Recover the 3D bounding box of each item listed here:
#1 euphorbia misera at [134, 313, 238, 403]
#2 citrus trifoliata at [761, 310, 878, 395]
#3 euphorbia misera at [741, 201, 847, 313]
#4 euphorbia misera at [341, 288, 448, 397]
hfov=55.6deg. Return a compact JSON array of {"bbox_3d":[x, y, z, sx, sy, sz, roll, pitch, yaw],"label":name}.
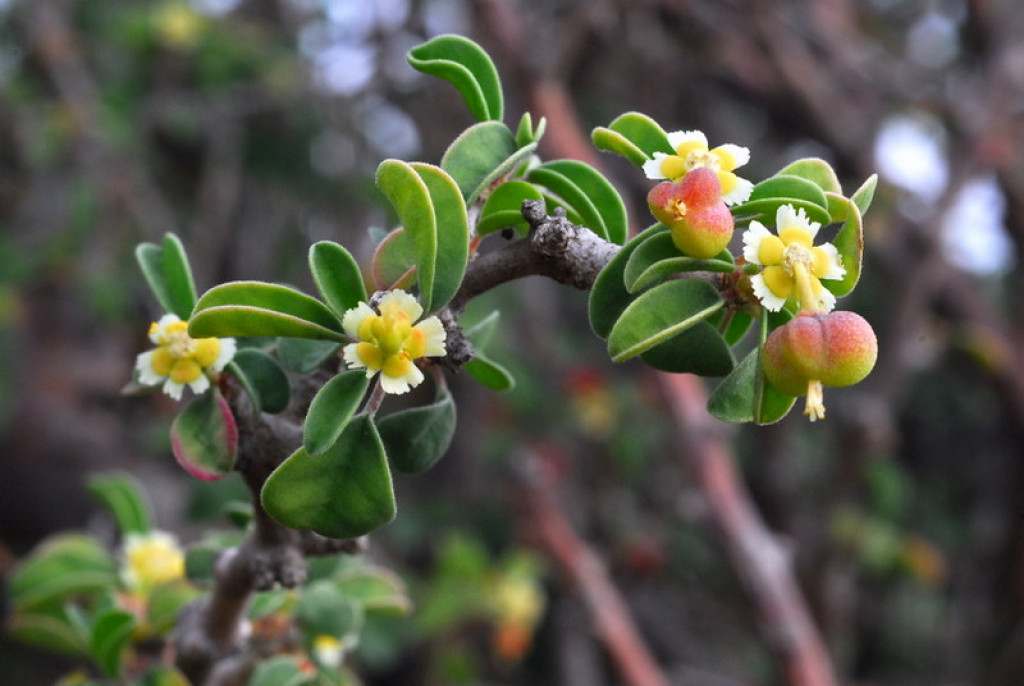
[{"bbox_3d":[-0.630,0.046,1.888,0.157,0.173,0.066,28,-2,2],"label":"euphorbia misera"},{"bbox_3d":[0.557,0.006,1.754,0.121,0.154,0.181,3,3,16],"label":"citrus trifoliata"},{"bbox_3d":[0.523,-0.153,1.794,0.203,0.187,0.096,15,15,8],"label":"euphorbia misera"},{"bbox_3d":[-0.217,-0.004,1.788,0.195,0.176,0.069,13,15,2],"label":"euphorbia misera"}]
